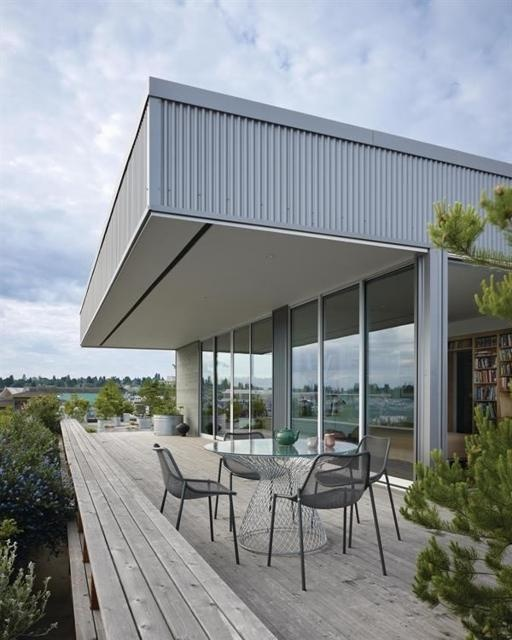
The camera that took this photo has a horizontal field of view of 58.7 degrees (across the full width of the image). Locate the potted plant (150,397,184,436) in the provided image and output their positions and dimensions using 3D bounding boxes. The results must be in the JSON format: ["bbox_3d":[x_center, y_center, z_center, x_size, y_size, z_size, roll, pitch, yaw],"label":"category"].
[{"bbox_3d":[-2.839,3.220,14.658,0.934,0.889,1.716,1,-9,-12],"label":"potted plant"}]

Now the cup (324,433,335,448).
[{"bbox_3d":[0.631,1.036,3.900,0.083,0.131,0.093,9,-17,-36],"label":"cup"}]

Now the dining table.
[{"bbox_3d":[0.114,1.120,3.697,0.896,0.708,0.981,1,-9,-10],"label":"dining table"}]
